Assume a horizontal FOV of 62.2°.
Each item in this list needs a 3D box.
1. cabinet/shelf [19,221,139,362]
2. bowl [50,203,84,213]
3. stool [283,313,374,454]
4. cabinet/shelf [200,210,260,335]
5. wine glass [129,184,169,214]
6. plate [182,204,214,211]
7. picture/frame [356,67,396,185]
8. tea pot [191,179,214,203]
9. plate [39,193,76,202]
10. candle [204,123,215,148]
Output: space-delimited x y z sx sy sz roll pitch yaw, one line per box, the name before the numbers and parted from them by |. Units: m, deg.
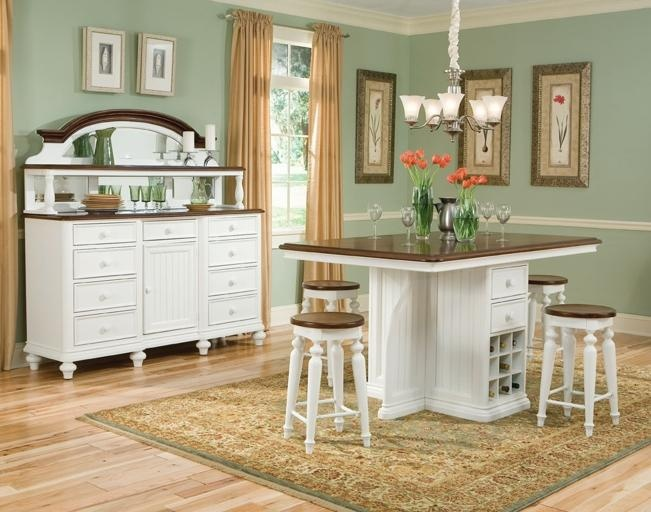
cabinet/shelf | -2.067 0.241 4.071 0.577 1.052 0.187 2 5 29
bowl | -2.063 -0.391 4.339 0.212 0.087 0.060 -1 4 -25
stool | 0.006 0.649 2.769 0.442 0.597 0.446 5 -6 -39
cabinet/shelf | -1.002 0.182 4.977 0.596 1.119 0.675 4 7 42
wine glass | -1.526 -0.503 4.644 0.336 0.228 0.243 -1 2 -8
plate | -1.103 -0.422 4.726 0.225 0.080 0.231 0 3 -13
picture/frame | 0.619 -1.578 6.659 0.665 1.398 0.046 -3 5 -40
tea pot | -1.120 -0.603 4.931 0.193 0.267 0.417 0 3 -12
plate | -2.140 -0.470 4.291 0.266 0.085 0.031 -2 5 -43
candle | -1.063 -1.101 5.000 0.078 0.244 0.077 1 4 9
